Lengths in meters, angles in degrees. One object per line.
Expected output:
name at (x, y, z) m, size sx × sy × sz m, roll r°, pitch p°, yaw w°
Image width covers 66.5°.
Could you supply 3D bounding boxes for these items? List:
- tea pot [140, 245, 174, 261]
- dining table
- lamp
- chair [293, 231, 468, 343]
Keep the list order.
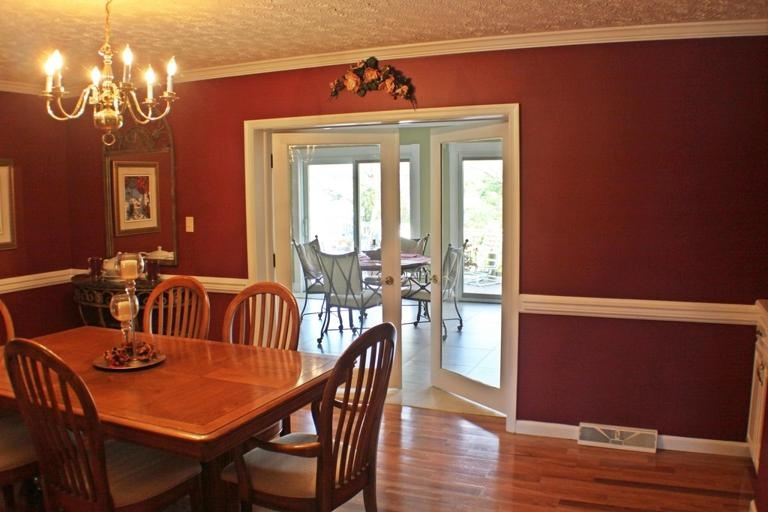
tea pot at (-2.207, -0.005, 5.733) m, size 0.198 × 0.118 × 0.197 m, roll 2°, pitch -1°, yaw 0°
dining table at (-1.186, 0.953, 3.322) m, size 1.226 × 0.595 × 0.629 m, roll 2°, pitch 4°, yaw 27°
lamp at (-2.103, -1.451, 4.556) m, size 0.925 × 1.184 × 0.853 m, roll -1°, pitch -6°, yaw 9°
chair at (-0.080, 0.246, 5.851) m, size 1.250 × 0.655 × 1.240 m, roll -2°, pitch 3°, yaw 7°
